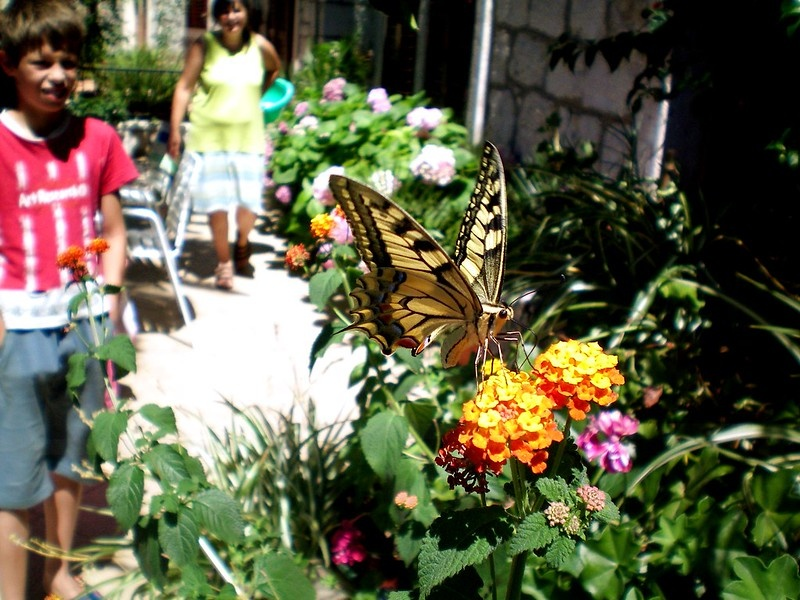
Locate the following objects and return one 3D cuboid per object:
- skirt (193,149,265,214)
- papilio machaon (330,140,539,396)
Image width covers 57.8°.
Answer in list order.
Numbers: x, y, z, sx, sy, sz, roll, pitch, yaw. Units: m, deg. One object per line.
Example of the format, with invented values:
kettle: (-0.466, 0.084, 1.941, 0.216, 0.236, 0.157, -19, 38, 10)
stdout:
skirt: (-1.333, -0.940, 5.713, 0.646, 0.625, 0.393, -1, 9, -13)
papilio machaon: (0.190, -0.117, 2.802, 0.644, 0.870, 0.847, 2, 15, 35)
